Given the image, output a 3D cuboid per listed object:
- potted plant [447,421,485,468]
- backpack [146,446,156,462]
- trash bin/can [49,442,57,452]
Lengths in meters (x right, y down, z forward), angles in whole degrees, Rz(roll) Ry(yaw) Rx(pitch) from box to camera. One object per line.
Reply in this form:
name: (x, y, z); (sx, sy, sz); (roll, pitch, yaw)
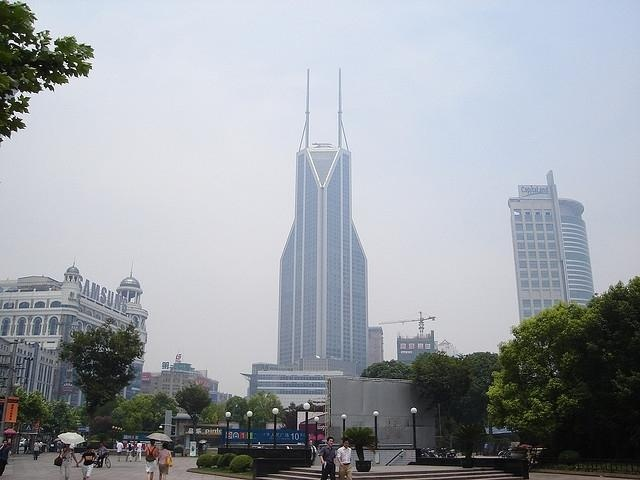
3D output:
potted plant: (9.536, 13.216, 40.004); (1.737, 2.587, 1.725); (-2, -18, 11)
backpack: (-8.261, 10.631, 30.936); (0.494, 0.726, 0.720); (5, -18, -13)
trash bin/can: (-29.899, 23.410, 70.375); (0.770, 1.320, 0.727); (9, -56, -19)
